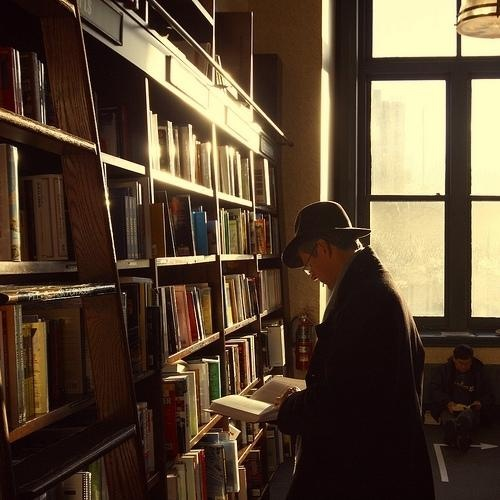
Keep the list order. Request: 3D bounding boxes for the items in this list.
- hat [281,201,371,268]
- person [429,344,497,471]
[{"bbox_3d":[0.270,-0.030,2.005,0.273,0.131,0.217,-31,-15,9],"label":"hat"},{"bbox_3d":[1.771,1.235,4.728,0.370,0.682,0.814,-1,-6,13],"label":"person"}]
